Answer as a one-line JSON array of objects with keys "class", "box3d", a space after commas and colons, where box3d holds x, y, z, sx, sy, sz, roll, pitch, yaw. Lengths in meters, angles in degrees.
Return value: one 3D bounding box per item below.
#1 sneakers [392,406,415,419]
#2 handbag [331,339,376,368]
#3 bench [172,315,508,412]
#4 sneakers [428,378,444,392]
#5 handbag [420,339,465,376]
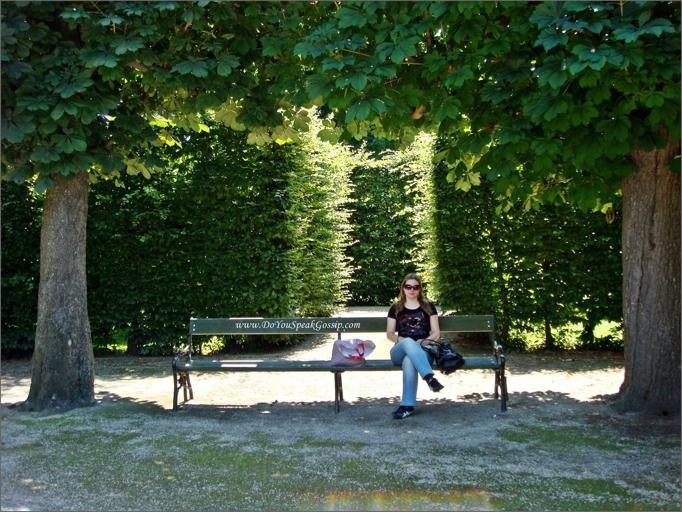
[{"class": "sneakers", "box3d": [0.692, 1.788, 8.025, 0.279, 0.112, 0.107, 6, -10, -34]}, {"class": "handbag", "box3d": [0.117, 1.130, 8.374, 0.504, 0.294, 0.214, 0, 5, 2]}, {"class": "bench", "box3d": [0.029, 1.457, 9.056, 4.161, 1.070, 0.759, 1, -10, -2]}, {"class": "sneakers", "box3d": [0.999, 1.418, 7.747, 0.114, 0.088, 0.244, 37, -12, -6]}, {"class": "handbag", "box3d": [1.132, 1.175, 8.151, 0.376, 0.167, 0.455, 1, 6, -27]}]
